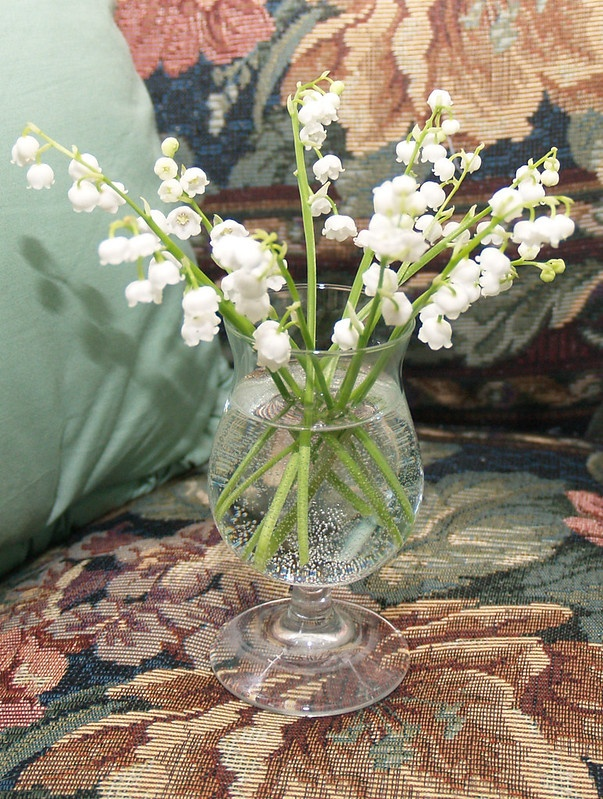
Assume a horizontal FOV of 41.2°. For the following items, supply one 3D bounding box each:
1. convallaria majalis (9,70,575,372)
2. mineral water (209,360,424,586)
[{"bbox_3d":[0.003,-0.106,0.603,0.355,0.152,0.315,2,8,-6],"label":"convallaria majalis"},{"bbox_3d":[0.009,0.066,0.624,0.171,0.155,0.130,-8,52,4],"label":"mineral water"}]
